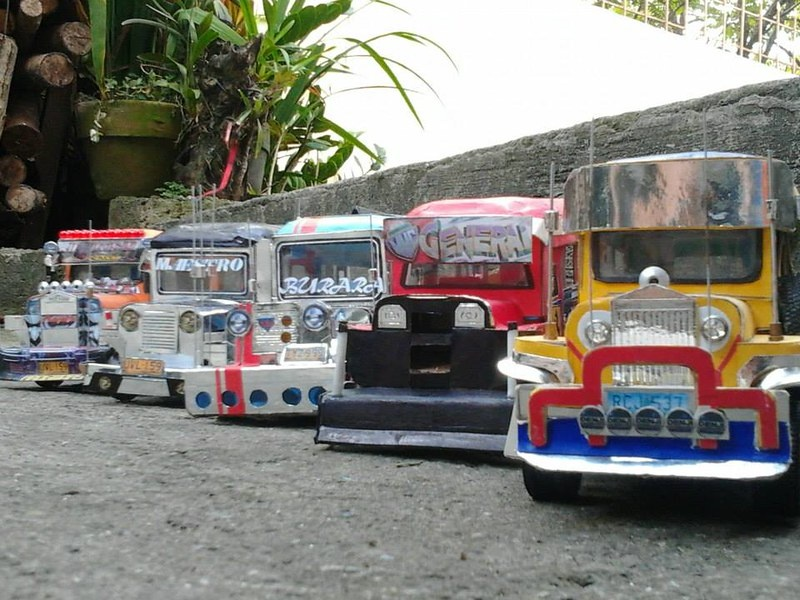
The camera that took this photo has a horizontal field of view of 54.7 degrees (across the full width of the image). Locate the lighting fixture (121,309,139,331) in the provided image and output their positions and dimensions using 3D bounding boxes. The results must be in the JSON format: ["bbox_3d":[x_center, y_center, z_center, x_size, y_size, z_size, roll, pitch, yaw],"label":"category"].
[{"bbox_3d":[-2.958,0.211,8.461,0.239,0.221,0.093,1,-7,19],"label":"lighting fixture"}]

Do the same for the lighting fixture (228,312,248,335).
[{"bbox_3d":[-1.659,0.228,7.960,0.272,0.213,0.081,10,9,12],"label":"lighting fixture"}]

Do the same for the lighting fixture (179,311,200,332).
[{"bbox_3d":[-2.231,0.220,8.188,0.251,0.200,0.054,11,4,13],"label":"lighting fixture"}]

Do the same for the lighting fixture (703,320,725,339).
[{"bbox_3d":[1.926,0.170,4.705,0.140,0.109,0.037,1,-3,6],"label":"lighting fixture"}]

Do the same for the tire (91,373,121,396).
[{"bbox_3d":[-3.207,0.907,8.413,0.449,0.239,0.094,4,5,32],"label":"tire"}]

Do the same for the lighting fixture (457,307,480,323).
[{"bbox_3d":[0.562,0.108,6.295,0.259,0.137,0.130,0,-8,3],"label":"lighting fixture"}]
